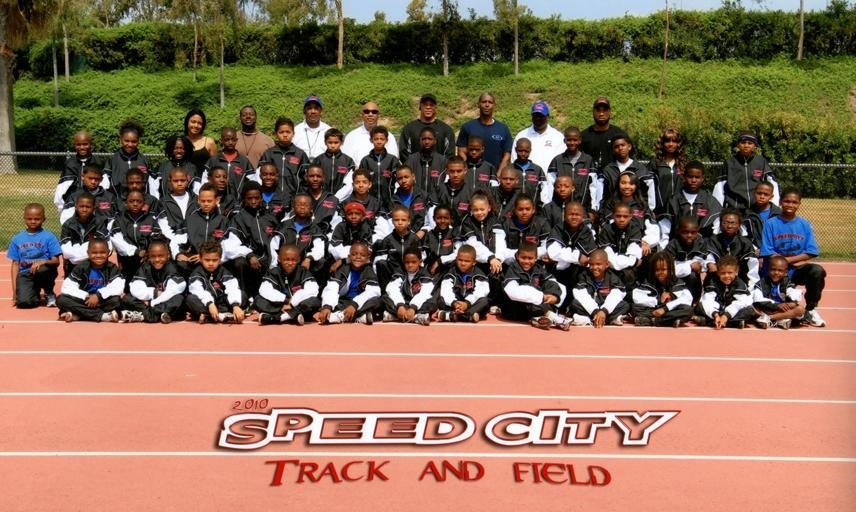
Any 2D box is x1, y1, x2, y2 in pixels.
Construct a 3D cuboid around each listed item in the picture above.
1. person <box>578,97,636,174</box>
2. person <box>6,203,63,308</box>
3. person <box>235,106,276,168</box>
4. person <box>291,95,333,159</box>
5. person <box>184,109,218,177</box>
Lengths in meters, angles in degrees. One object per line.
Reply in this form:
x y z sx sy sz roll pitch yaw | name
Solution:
5.694 -4.141 42.443 1.567 2.704 1.161 1 0 -11 | person
-12.944 -0.023 41.101 1.587 3.390 0.822 -3 9 -14 | person
-5.932 -4.088 42.749 1.111 2.206 1.108 0 -1 -26 | person
-3.986 -4.333 42.655 1.064 2.331 1.030 0 -1 -31 | person
-7.909 -3.409 42.522 1.370 3.138 0.901 1 25 -15 | person
